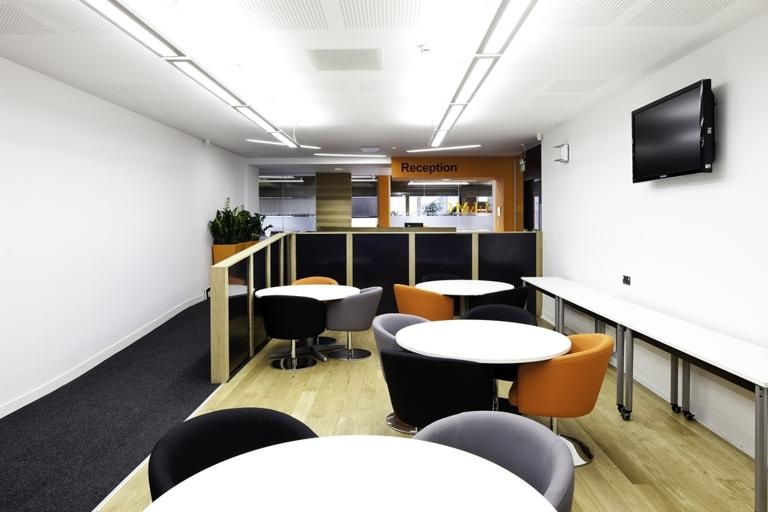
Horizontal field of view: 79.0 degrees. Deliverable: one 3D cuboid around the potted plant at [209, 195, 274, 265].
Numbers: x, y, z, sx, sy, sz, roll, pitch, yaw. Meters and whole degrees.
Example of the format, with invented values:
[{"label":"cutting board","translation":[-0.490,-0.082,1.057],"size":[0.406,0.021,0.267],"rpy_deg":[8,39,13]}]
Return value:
[{"label":"potted plant","translation":[-3.141,-0.596,10.002],"size":[0.700,1.185,1.310],"rpy_deg":[0,15,4]}]
